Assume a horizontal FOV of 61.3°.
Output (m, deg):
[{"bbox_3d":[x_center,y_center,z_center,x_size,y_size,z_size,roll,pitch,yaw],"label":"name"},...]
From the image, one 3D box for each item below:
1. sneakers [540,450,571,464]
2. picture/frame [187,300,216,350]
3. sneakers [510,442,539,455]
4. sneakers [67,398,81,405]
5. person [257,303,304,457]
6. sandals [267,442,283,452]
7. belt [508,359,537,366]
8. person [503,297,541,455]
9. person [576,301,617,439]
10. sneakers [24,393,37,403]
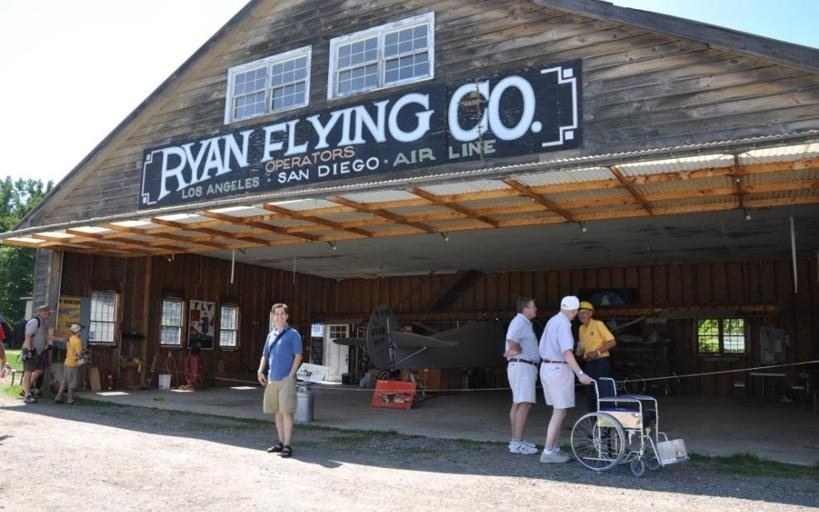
[{"bbox_3d":[2.389,3.266,11.292,0.505,0.181,0.190,0,-5,-3],"label":"sneakers"},{"bbox_3d":[-6.319,2.099,21.080,0.313,1.452,0.989,-6,-12,27],"label":"picture/frame"},{"bbox_3d":[1.962,3.295,11.850,0.520,0.183,0.173,-1,-7,5],"label":"sneakers"},{"bbox_3d":[-7.688,3.351,15.971,0.332,0.118,0.123,6,3,-16],"label":"sneakers"},{"bbox_3d":[-2.263,2.096,12.152,0.684,2.669,1.501,2,-11,-12],"label":"person"},{"bbox_3d":[-2.281,3.254,11.815,0.335,0.123,0.141,5,-14,3],"label":"sandals"},{"bbox_3d":[1.963,1.798,11.749,0.451,0.108,0.169,1,-10,-5],"label":"belt"},{"bbox_3d":[1.973,2.060,12.035,0.880,2.325,0.858,0,-1,7],"label":"person"},{"bbox_3d":[3.401,1.962,12.782,0.802,2.086,0.882,2,-2,-33],"label":"person"},{"bbox_3d":[-8.605,3.217,15.741,0.274,0.196,0.264,5,-11,-25],"label":"sneakers"}]
